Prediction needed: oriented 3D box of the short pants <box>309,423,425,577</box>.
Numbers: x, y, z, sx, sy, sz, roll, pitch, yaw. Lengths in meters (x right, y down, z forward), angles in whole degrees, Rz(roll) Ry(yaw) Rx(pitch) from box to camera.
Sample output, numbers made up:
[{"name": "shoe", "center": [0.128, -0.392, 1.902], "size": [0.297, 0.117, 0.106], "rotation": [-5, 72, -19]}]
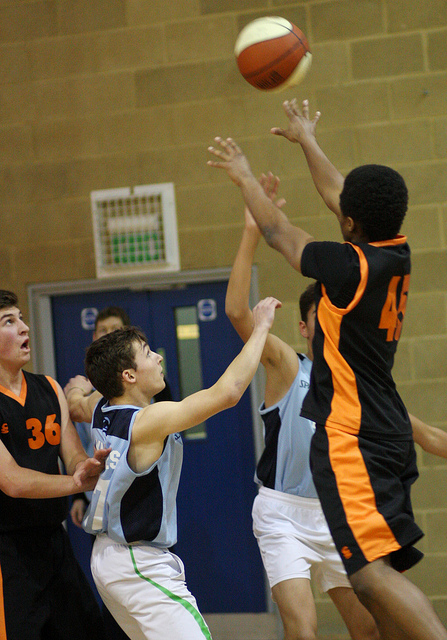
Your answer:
[{"name": "short pants", "center": [0.496, 0.568, 3.398], "size": [0.363, 0.524, 0.425], "rotation": [0, 6, 12]}]

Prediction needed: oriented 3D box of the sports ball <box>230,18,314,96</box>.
[{"name": "sports ball", "center": [0.196, -1.076, 3.911], "size": [0.295, 0.286, 0.135], "rotation": [-2, 4, 2]}]

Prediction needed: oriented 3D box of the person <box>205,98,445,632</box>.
[{"name": "person", "center": [0.488, 0.246, 3.439], "size": [0.377, 1.565, 0.792], "rotation": [-5, 5, -34]}]
